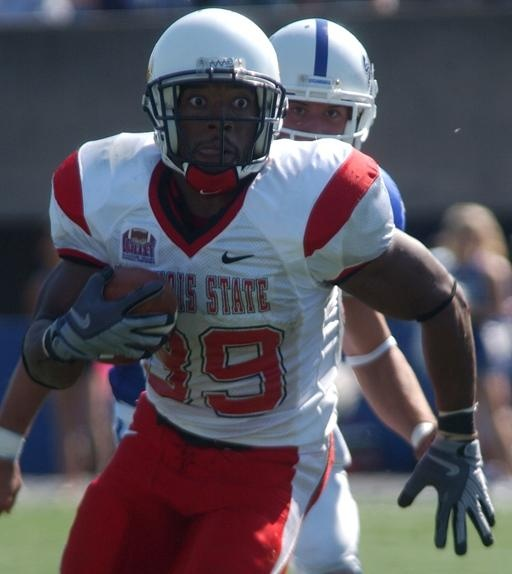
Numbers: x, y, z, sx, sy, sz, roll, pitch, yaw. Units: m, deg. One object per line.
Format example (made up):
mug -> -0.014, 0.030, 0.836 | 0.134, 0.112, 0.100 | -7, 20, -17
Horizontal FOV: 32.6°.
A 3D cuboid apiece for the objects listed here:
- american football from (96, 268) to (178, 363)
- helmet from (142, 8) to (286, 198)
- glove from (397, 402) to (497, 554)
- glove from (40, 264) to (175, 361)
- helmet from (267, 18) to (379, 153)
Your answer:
american football -> -0.238, 0.067, 1.864 | 0.155, 0.188, 0.123 | 14, 54, 15
helmet -> -0.091, -0.434, 2.017 | 0.287, 0.409, 0.387 | 0, 8, -2
glove -> 0.465, 0.443, 2.175 | 0.226, 0.413, 0.125 | 3, -26, 0
glove -> -0.298, 0.094, 1.840 | 0.264, 0.093, 0.171 | 19, -8, 35
helmet -> 0.216, -0.659, 2.965 | 0.370, 0.432, 0.503 | 3, 21, -5
